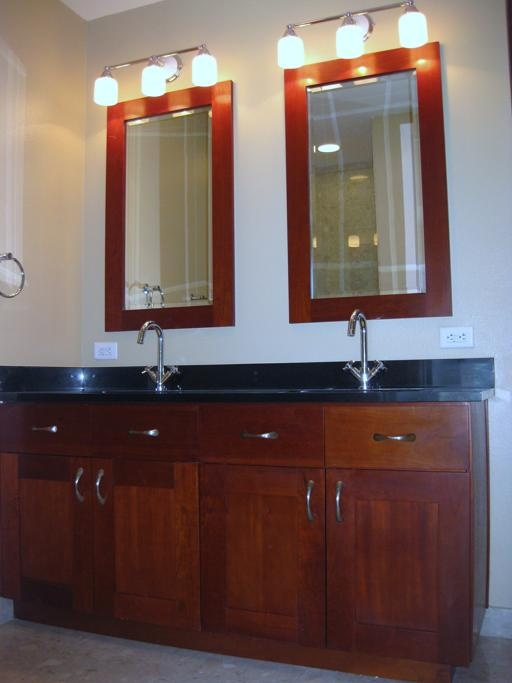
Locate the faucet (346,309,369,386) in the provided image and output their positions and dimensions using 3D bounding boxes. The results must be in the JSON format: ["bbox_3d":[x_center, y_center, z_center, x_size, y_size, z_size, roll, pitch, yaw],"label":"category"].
[{"bbox_3d":[0.349,0.030,2.123,0.079,0.258,0.336,-1,-2,9],"label":"faucet"}]

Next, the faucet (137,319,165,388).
[{"bbox_3d":[-0.401,0.059,2.399,0.100,0.263,0.462,0,-2,-9],"label":"faucet"}]

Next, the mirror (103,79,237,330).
[{"bbox_3d":[-0.372,-0.549,2.602,0.621,0.999,0.077,-1,-2,25],"label":"mirror"}]
